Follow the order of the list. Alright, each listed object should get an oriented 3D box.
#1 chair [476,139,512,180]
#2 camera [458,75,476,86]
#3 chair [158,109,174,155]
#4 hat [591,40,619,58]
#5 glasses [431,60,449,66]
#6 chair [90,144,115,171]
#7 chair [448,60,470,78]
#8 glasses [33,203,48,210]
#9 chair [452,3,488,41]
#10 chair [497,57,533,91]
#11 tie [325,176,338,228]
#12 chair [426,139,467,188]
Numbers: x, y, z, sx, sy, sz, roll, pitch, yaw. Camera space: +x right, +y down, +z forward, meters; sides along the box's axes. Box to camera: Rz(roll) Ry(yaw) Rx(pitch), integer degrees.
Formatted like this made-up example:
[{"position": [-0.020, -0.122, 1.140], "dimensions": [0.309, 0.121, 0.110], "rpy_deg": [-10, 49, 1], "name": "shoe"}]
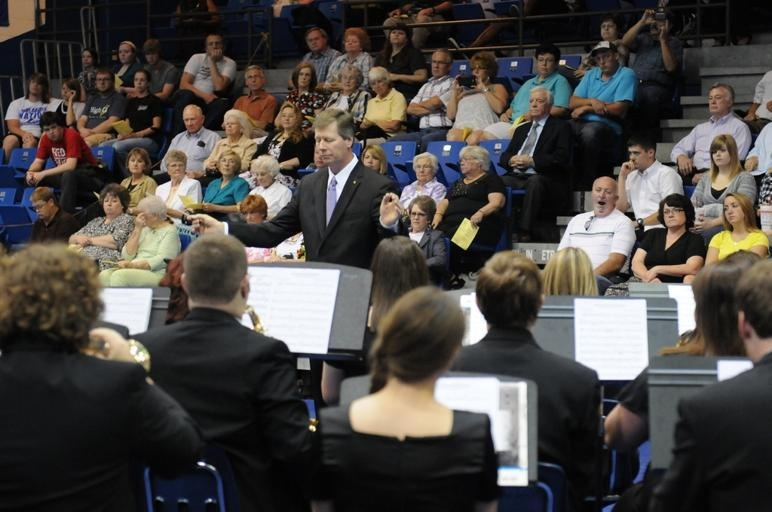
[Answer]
[{"position": [0.993, -0.968, 10.218], "dimensions": [0.368, 0.418, 0.384], "rpy_deg": [-4, -1, 27], "name": "chair"}, {"position": [0.864, -1.851, 10.837], "dimensions": [0.191, 0.124, 0.154], "rpy_deg": [0, 6, 3], "name": "camera"}, {"position": [-2.632, -1.468, 12.247], "dimensions": [0.173, 0.620, 0.322], "rpy_deg": [1, 6, 12], "name": "chair"}, {"position": [2.217, -2.093, 10.218], "dimensions": [0.280, 0.128, 0.174], "rpy_deg": [-6, -5, -42], "name": "hat"}, {"position": [0.607, -2.083, 10.968], "dimensions": [0.195, 0.053, 0.093], "rpy_deg": [-1, 6, -7], "name": "glasses"}, {"position": [-3.255, -1.145, 11.769], "dimensions": [0.289, 0.293, 0.377], "rpy_deg": [2, 0, -13], "name": "chair"}, {"position": [0.864, -2.182, 11.798], "dimensions": [0.225, 0.220, 0.530], "rpy_deg": [0, 5, 0], "name": "chair"}, {"position": [-3.472, -0.490, 10.163], "dimensions": [0.171, 0.072, 0.083], "rpy_deg": [4, 7, 40], "name": "glasses"}, {"position": [0.999, -2.891, 12.737], "dimensions": [0.524, 0.525, 0.476], "rpy_deg": [-1, -14, 3], "name": "chair"}, {"position": [1.488, -2.126, 11.659], "dimensions": [0.496, 0.501, 0.428], "rpy_deg": [-1, 6, 12], "name": "chair"}, {"position": [-0.350, -0.370, 6.656], "dimensions": [0.075, 0.298, 0.097], "rpy_deg": [-1, 6, -1], "name": "tie"}, {"position": [0.624, -0.947, 10.165], "dimensions": [0.434, 0.479, 0.446], "rpy_deg": [0, 2, 31], "name": "chair"}]
